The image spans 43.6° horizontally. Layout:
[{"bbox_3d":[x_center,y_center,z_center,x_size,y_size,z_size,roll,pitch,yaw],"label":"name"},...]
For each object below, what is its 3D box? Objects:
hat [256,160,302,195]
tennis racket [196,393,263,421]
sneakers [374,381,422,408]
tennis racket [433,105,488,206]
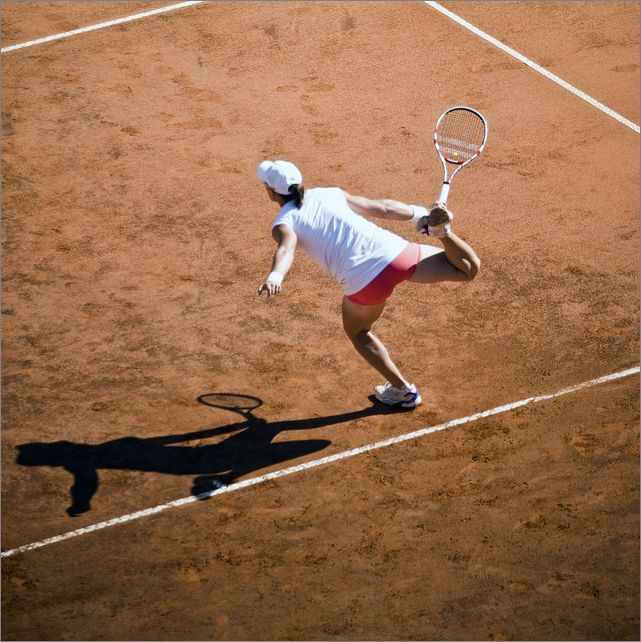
[{"bbox_3d":[-0.305,-1.091,6.068,0.223,0.163,0.316,-39,74,-19],"label":"hat"},{"bbox_3d":[-0.757,0.716,6.995,0.441,0.038,0.246,11,39,22],"label":"tennis racket"},{"bbox_3d":[0.668,0.647,6.917,0.454,0.212,0.163,8,60,29],"label":"sneakers"},{"bbox_3d":[1.348,-1.605,8.216,0.494,1.635,0.122,19,65,6],"label":"tennis racket"}]
